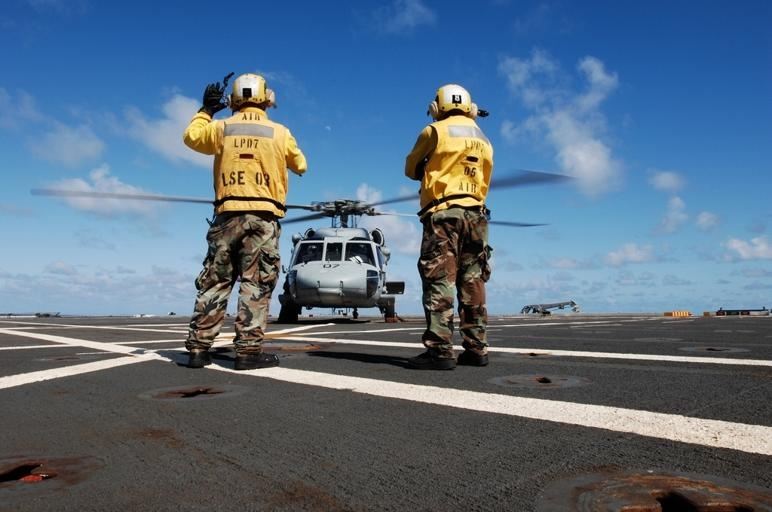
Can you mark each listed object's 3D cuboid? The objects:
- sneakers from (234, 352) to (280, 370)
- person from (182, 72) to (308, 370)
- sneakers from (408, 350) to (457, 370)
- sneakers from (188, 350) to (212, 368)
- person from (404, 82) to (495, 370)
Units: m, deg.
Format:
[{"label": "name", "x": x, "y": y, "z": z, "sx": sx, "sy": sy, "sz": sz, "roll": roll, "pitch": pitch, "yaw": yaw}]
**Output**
[{"label": "sneakers", "x": -1.141, "y": 0.956, "z": 4.004, "sx": 0.373, "sy": 0.140, "sz": 0.254, "roll": 2, "pitch": -6, "yaw": -39}, {"label": "person", "x": -1.426, "y": -0.441, "z": 4.400, "sx": 1.141, "sy": 2.999, "sz": 0.723, "roll": -1, "pitch": -6, "yaw": -7}, {"label": "sneakers", "x": 0.388, "y": 0.953, "z": 4.003, "sx": 0.456, "sy": 0.169, "sz": 0.149, "roll": 4, "pitch": -11, "yaw": 1}, {"label": "sneakers", "x": -1.733, "y": 0.976, "z": 4.145, "sx": 0.117, "sy": 0.152, "sz": 0.233, "roll": -5, "pitch": -6, "yaw": 31}, {"label": "person", "x": 0.595, "y": -0.363, "z": 4.199, "sx": 0.833, "sy": 2.827, "sz": 0.656, "roll": -3, "pitch": -6, "yaw": 11}]
